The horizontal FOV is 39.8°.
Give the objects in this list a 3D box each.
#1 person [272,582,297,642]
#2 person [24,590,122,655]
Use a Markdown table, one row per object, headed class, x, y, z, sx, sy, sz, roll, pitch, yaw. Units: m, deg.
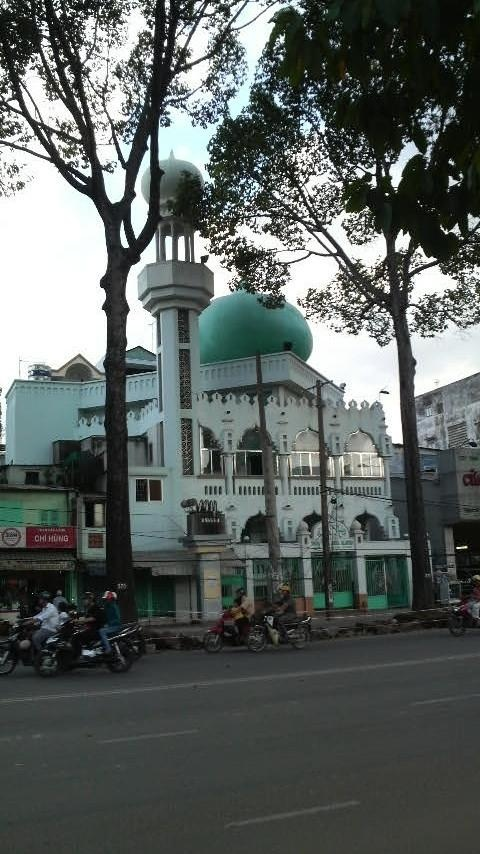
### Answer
| class | x | y | z | sx | sy | sz | roll | pitch | yaw |
| --- | --- | --- | --- | --- | --- | --- | --- | --- | --- |
| person | 1.122 | 4.909 | 17.250 | 0.526 | 1.444 | 0.983 | -5 | -13 | 15 |
| person | -3.171 | 4.127 | 13.246 | 1.833 | 1.512 | 0.765 | 2 | -13 | -15 |
